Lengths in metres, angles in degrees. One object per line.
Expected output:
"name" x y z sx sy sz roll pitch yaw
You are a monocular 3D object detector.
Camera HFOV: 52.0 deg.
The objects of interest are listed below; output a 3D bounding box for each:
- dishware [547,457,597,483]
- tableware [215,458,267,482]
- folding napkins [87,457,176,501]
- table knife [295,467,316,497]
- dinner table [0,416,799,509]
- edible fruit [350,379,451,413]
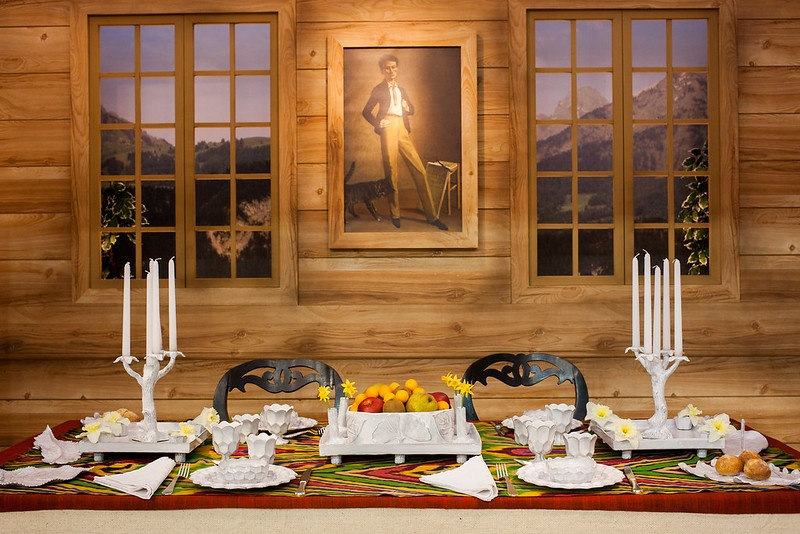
"dishware" 0.699 0.808 3.354 0.135 0.045 0.129 1 -1 -39
"tableware" -0.644 0.830 3.348 0.135 0.040 0.123 2 -4 0
"folding napkins" -1.052 0.856 3.387 0.171 0.044 0.187 11 11 16
"table knife" -0.391 0.891 3.387 0.036 0.023 0.184 2 13 0
"dinner table" 0.031 0.881 3.519 3.420 0.229 0.468 -1 4 1
"edible fruit" -0.001 0.566 3.600 0.445 0.117 0.158 -1 4 -1
